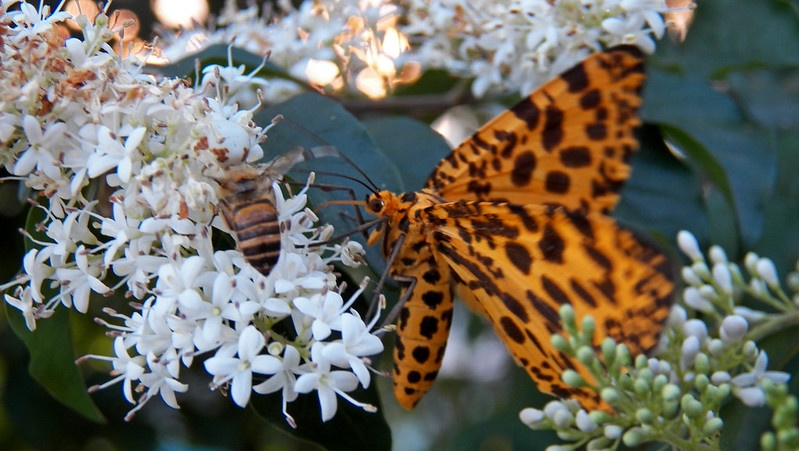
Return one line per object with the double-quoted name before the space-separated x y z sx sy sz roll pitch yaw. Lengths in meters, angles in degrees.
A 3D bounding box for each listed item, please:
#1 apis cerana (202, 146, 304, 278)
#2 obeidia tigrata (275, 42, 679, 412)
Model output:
"apis cerana" -0.496 -0.053 3.225 0.284 0.359 0.131 -4 -34 -15
"obeidia tigrata" 0.358 0.142 3.388 1.249 1.346 0.724 -4 -42 -13
